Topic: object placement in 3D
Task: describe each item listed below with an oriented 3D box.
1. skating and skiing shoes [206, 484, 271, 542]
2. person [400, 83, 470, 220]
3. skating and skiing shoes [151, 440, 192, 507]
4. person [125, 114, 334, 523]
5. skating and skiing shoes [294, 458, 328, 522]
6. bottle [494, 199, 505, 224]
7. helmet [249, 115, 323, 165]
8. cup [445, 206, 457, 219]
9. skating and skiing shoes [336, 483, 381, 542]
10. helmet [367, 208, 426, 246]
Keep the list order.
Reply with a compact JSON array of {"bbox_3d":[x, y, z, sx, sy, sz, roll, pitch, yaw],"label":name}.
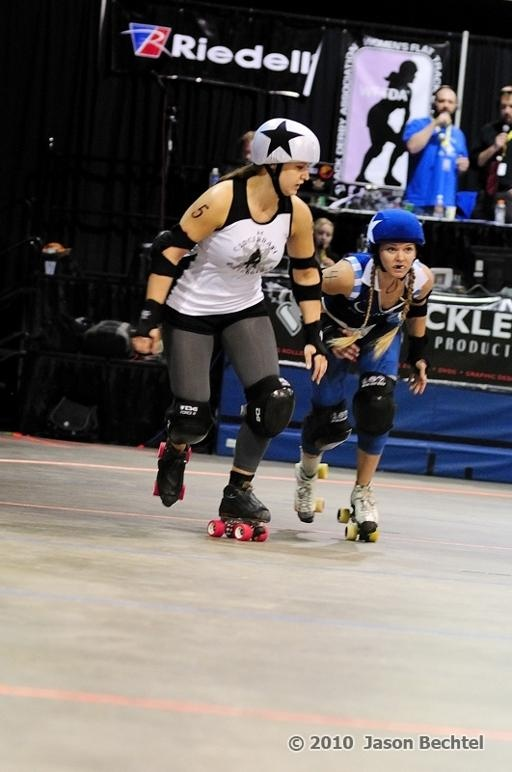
[{"bbox_3d":[-0.059,0.455,2.497,0.211,0.140,0.282,5,8,0],"label":"skating and skiing shoes"},{"bbox_3d":[1.835,-2.389,7.152,0.659,1.276,0.344,6,8,6],"label":"person"},{"bbox_3d":[-0.311,0.324,2.658,0.138,0.250,0.146,5,-3,-17],"label":"skating and skiing shoes"},{"bbox_3d":[-0.083,-0.235,2.546,0.700,1.411,0.361,4,8,-9],"label":"person"},{"bbox_3d":[0.217,0.469,3.046,0.110,0.301,0.223,0,6,-3],"label":"skating and skiing shoes"},{"bbox_3d":[2.512,-1.781,7.125,0.123,0.268,0.118,5,8,-1],"label":"bottle"},{"bbox_3d":[0.104,-0.837,2.433,0.274,0.195,0.198,12,24,15],"label":"helmet"},{"bbox_3d":[1.999,-1.755,7.160,0.159,0.150,0.153,2,-3,0],"label":"cup"},{"bbox_3d":[0.418,0.505,2.728,0.116,0.181,0.247,6,8,7],"label":"skating and skiing shoes"},{"bbox_3d":[0.535,-0.615,2.681,0.212,0.147,0.159,9,9,29],"label":"helmet"}]
